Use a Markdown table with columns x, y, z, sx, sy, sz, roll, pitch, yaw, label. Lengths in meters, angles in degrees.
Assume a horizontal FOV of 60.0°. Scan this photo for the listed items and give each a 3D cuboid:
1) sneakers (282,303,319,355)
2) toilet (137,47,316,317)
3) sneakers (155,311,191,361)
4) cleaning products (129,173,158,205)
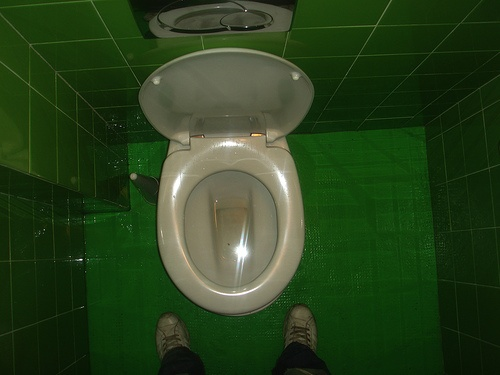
| x | y | z | sx | sy | sz | roll | pitch | yaw | label |
| --- | --- | --- | --- | --- | --- | --- | --- | --- | --- |
| 0.234 | 0.642 | 2.015 | 0.097 | 0.106 | 0.276 | 2 | 98 | 9 | sneakers |
| -0.063 | -0.031 | 1.728 | 0.665 | 0.983 | 1.000 | -3 | 75 | 0 | toilet |
| -0.363 | 0.666 | 2.016 | 0.106 | 0.105 | 0.262 | -11 | 94 | -10 | sneakers |
| -0.492 | 0.013 | 2.005 | 0.108 | 0.219 | 0.126 | -1 | 72 | 8 | cleaning products |
